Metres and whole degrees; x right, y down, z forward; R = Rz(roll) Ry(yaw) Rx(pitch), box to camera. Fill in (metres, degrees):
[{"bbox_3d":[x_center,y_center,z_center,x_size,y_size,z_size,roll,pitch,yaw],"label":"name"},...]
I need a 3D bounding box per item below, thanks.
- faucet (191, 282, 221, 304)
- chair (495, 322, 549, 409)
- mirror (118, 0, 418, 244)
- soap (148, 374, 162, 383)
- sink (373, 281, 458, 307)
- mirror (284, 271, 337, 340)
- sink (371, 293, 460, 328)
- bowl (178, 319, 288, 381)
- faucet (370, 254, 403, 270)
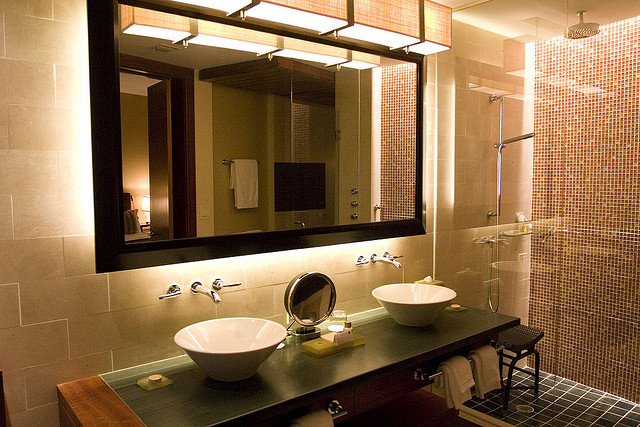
[{"bbox_3d":[-0.714,0.477,2.838,0.096,0.093,0.281,-1,1,-39],"label":"faucet"},{"bbox_3d":[1.640,1.259,3.986,0.560,0.599,0.429,-8,6,-16],"label":"chair"},{"bbox_3d":[-0.401,-0.626,3.073,1.813,0.995,0.041,-2,3,-32],"label":"mirror"},{"bbox_3d":[-0.949,0.943,2.669,0.073,0.033,0.074,-7,6,-17],"label":"soap"},{"bbox_3d":[0.688,0.637,3.420,0.594,0.146,0.599,0,4,23],"label":"sink"},{"bbox_3d":[-0.004,0.662,3.310,0.408,0.458,0.235,-13,-24,28],"label":"mirror"},{"bbox_3d":[0.679,0.690,3.362,0.555,0.274,0.382,-6,6,-5],"label":"sink"},{"bbox_3d":[-0.529,0.779,2.680,0.690,0.243,0.670,4,3,0],"label":"bowl"},{"bbox_3d":[0.517,0.366,3.676,0.101,0.090,0.286,-4,5,-36],"label":"faucet"}]
